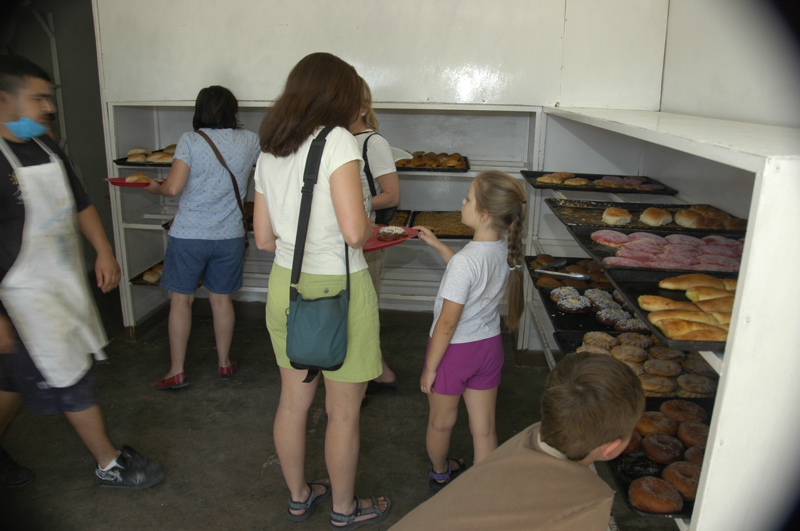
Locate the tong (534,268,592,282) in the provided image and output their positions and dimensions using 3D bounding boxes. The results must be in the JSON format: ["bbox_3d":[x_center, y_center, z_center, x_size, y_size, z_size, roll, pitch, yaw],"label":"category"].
[{"bbox_3d":[1.155,0.061,3.840,0.445,0.055,0.126,4,10,15],"label":"tong"}]

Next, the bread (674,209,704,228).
[{"bbox_3d":[1.660,-0.268,3.125,0.105,0.056,0.181,-20,18,3],"label":"bread"}]

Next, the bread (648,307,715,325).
[{"bbox_3d":[1.196,0.215,2.312,0.152,0.033,0.114,0,10,2],"label":"bread"}]

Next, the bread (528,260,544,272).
[{"bbox_3d":[0.996,0.003,4.041,0.081,0.021,0.081,-26,25,-36],"label":"bread"}]

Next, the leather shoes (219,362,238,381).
[{"bbox_3d":[-1.454,0.883,4.550,0.079,0.081,0.209,2,16,8],"label":"leather shoes"}]

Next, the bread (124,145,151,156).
[{"bbox_3d":[-2.443,-1.055,5.025,0.152,0.044,0.131,-5,10,9],"label":"bread"}]

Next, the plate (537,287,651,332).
[{"bbox_3d":[1.283,0.230,3.689,0.586,0.081,0.637,7,10,33],"label":"plate"}]

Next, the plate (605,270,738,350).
[{"bbox_3d":[1.242,0.200,2.423,0.365,0.053,0.379,5,26,10],"label":"plate"}]

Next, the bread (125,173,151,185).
[{"bbox_3d":[-2.179,-0.708,4.510,0.201,0.059,0.199,-1,11,-14],"label":"bread"}]

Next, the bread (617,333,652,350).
[{"bbox_3d":[1.379,0.444,3.187,0.142,0.037,0.091,1,13,-23],"label":"bread"}]

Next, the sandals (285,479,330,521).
[{"bbox_3d":[-0.539,1.388,3.262,0.128,0.118,0.325,4,14,18],"label":"sandals"}]

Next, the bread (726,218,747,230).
[{"bbox_3d":[1.877,-0.237,3.031,0.097,0.023,0.089,2,31,21],"label":"bread"}]

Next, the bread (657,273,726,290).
[{"bbox_3d":[1.376,0.076,2.543,0.191,0.037,0.114,-1,12,7],"label":"bread"}]

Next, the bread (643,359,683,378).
[{"bbox_3d":[1.421,0.553,2.955,0.105,0.035,0.124,1,10,0],"label":"bread"}]

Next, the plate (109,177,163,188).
[{"bbox_3d":[-2.196,-0.692,4.496,0.380,0.045,0.223,1,9,-4],"label":"plate"}]

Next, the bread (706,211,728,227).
[{"bbox_3d":[1.810,-0.267,3.106,0.105,0.022,0.094,9,36,25],"label":"bread"}]

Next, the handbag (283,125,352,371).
[{"bbox_3d":[-0.393,-0.065,2.634,0.309,1.150,0.341,1,22,-6],"label":"handbag"}]

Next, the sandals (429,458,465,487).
[{"bbox_3d":[0.310,1.306,3.485,0.106,0.100,0.283,7,16,33],"label":"sandals"}]

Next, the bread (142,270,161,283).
[{"bbox_3d":[-2.378,0.105,5.192,0.129,0.047,0.116,4,9,13],"label":"bread"}]

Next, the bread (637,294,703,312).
[{"bbox_3d":[1.165,0.153,2.398,0.179,0.031,0.092,2,18,11],"label":"bread"}]

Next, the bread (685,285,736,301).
[{"bbox_3d":[1.401,0.128,2.468,0.137,0.029,0.085,7,23,33],"label":"bread"}]

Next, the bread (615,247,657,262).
[{"bbox_3d":[1.219,-0.055,2.796,0.094,0.028,0.123,5,6,-22],"label":"bread"}]

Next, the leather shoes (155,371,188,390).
[{"bbox_3d":[-1.847,0.928,4.391,0.234,0.086,0.112,2,6,10],"label":"leather shoes"}]

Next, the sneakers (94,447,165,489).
[{"bbox_3d":[-1.660,1.272,3.432,0.428,0.181,0.215,1,12,-9],"label":"sneakers"}]
